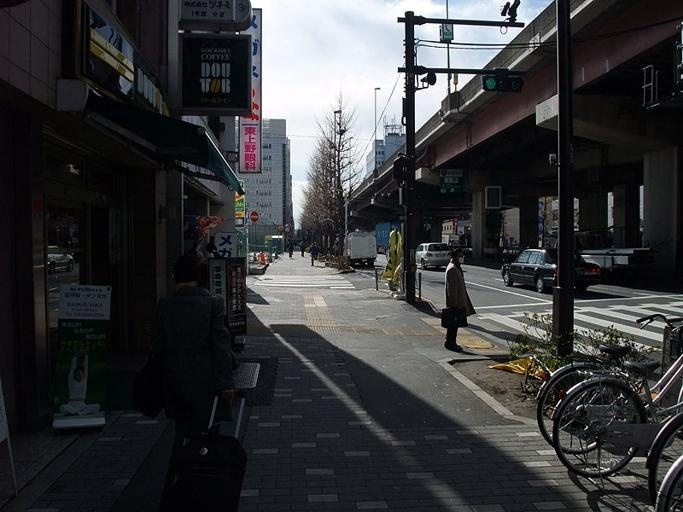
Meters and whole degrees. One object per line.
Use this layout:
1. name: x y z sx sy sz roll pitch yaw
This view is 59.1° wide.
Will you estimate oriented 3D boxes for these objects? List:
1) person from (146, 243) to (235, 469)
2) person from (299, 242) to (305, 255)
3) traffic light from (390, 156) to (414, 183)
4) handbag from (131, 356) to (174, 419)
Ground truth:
1. person: -1.434 1.197 6.010 0.706 2.537 0.669 4 14 6
2. person: -4.837 -0.648 75.044 0.319 1.447 2.119 0 3 -10
3. traffic light: 1.861 -2.723 18.872 0.519 0.930 0.872 3 3 43
4. handbag: -1.764 1.249 5.666 0.148 0.558 0.362 4 2 9
